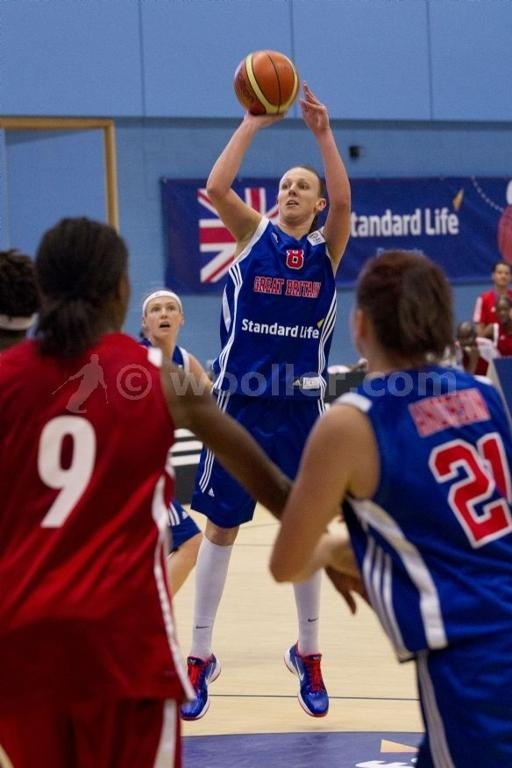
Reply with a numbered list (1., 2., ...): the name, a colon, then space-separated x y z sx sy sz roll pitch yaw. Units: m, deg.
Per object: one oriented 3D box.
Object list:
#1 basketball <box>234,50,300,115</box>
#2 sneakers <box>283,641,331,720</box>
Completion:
1. basketball: 0.022 -0.978 2.971 0.245 0.250 0.298 -6 13 -3
2. sneakers: 0.184 0.990 2.894 0.084 0.114 0.265 4 40 -34
